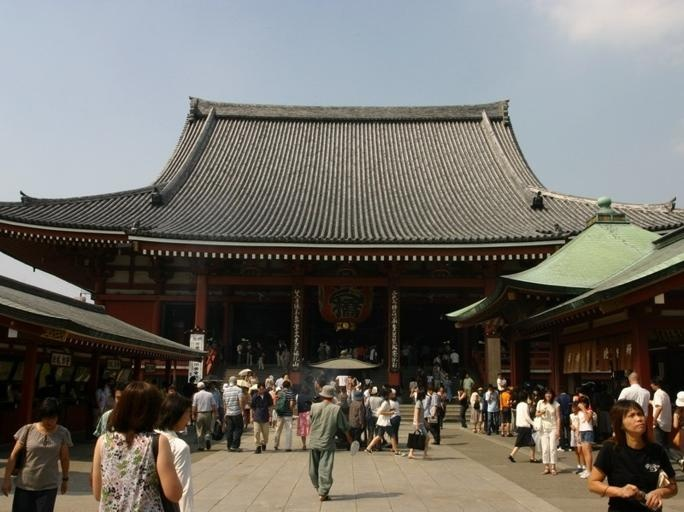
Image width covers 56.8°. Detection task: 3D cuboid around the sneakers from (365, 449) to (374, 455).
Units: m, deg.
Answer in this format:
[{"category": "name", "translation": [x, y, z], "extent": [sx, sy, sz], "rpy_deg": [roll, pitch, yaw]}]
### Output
[{"category": "sneakers", "translation": [0.677, 5.018, 16.107], "extent": [0.140, 0.106, 0.276], "rpy_deg": [0, -20, 2]}]

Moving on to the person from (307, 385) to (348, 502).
[{"category": "person", "translation": [-0.278, 3.294, 11.296], "extent": [0.638, 1.991, 1.026], "rpy_deg": [2, -18, -2]}]

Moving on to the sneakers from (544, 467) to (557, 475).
[{"category": "sneakers", "translation": [4.267, 4.408, 12.986], "extent": [0.290, 0.185, 0.437], "rpy_deg": [-4, -19, 17]}]

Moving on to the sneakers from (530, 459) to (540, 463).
[{"category": "sneakers", "translation": [4.410, 4.714, 14.492], "extent": [0.248, 0.094, 0.082], "rpy_deg": [4, -11, -5]}]

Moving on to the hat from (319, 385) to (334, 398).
[{"category": "hat", "translation": [-0.278, 2.590, 11.971], "extent": [0.243, 0.130, 0.255], "rpy_deg": [8, 2, 16]}]

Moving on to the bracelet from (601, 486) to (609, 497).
[{"category": "bracelet", "translation": [2.533, 2.290, 6.100], "extent": [0.021, 0.088, 0.090], "rpy_deg": [27, -32, 26]}]

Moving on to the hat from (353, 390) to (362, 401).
[{"category": "hat", "translation": [0.397, 3.821, 17.233], "extent": [0.246, 0.185, 0.239], "rpy_deg": [5, -6, -38]}]

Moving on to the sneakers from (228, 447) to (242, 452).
[{"category": "sneakers", "translation": [-2.790, 5.037, 16.356], "extent": [0.315, 0.132, 0.116], "rpy_deg": [-8, -11, 30]}]

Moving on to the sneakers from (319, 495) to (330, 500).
[{"category": "sneakers", "translation": [-0.271, 4.092, 10.633], "extent": [0.127, 0.102, 0.259], "rpy_deg": [-13, -23, 38]}]
